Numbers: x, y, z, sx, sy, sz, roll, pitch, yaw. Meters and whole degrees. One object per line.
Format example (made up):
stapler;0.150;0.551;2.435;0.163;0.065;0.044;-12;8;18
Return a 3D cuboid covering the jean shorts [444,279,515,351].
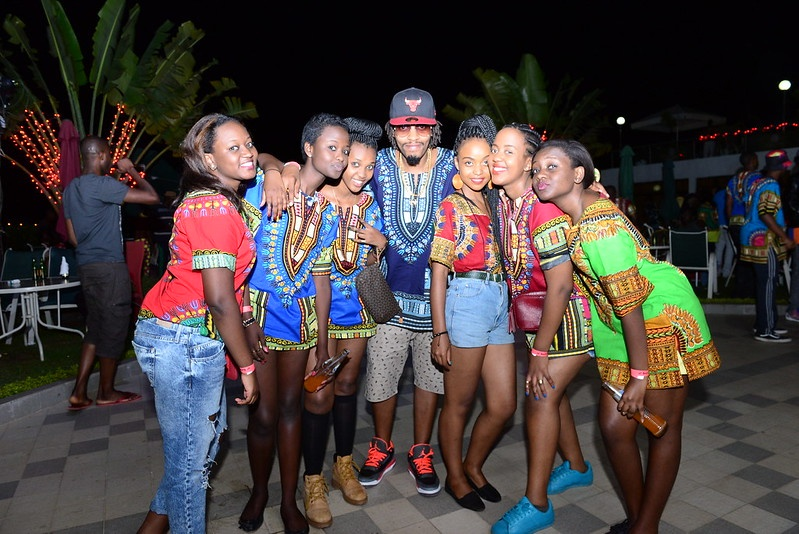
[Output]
jean shorts;0.600;0.315;3.808;0.718;0.575;0.468;5;-8;-39

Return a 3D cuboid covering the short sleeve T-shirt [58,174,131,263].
short sleeve T-shirt;-3.392;-0.532;5.433;0.835;0.898;0.284;-3;2;6

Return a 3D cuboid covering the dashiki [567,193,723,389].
dashiki;1.517;0.160;3.071;0.818;1.221;0.465;-2;3;21

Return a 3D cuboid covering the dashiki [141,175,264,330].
dashiki;-1.190;-0.088;3.237;0.759;1.044;1.104;9;19;-22

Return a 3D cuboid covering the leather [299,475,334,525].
leather;-0.604;1.716;3.570;0.149;0.168;0.415;-1;1;-13

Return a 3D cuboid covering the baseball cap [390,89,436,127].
baseball cap;0.097;-1.273;3.850;0.380;0.318;0.179;-3;2;3

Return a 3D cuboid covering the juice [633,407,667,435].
juice;1.553;0.979;3.010;0.177;0.210;0.135;-2;2;24

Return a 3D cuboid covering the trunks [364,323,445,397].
trunks;0.113;0.800;4.012;0.763;0.672;0.293;-14;-39;35

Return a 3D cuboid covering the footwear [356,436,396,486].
footwear;-0.178;1.602;4.036;0.183;0.257;0.503;2;5;25

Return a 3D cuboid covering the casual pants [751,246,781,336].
casual pants;5.384;0.360;7.130;0.293;1.248;0.389;-2;3;35

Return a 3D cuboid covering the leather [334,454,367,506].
leather;-0.403;1.672;3.863;0.170;0.256;0.438;-7;11;-27

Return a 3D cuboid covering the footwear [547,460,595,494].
footwear;1.322;1.657;3.864;0.445;0.168;0.183;-8;10;-2
